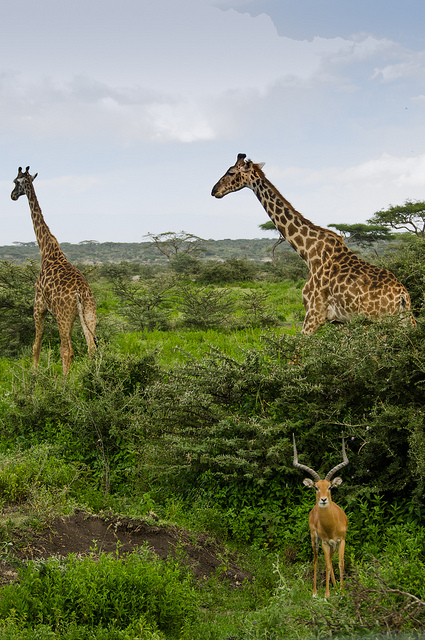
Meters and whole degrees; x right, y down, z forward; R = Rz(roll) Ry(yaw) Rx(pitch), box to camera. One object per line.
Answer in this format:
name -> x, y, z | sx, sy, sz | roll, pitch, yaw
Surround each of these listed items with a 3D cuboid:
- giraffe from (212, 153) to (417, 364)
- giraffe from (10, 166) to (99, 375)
giraffe -> 1.679, -1.381, 10.704 | 1.084, 3.058, 3.012 | -5, 2, -22
giraffe -> -2.935, -1.063, 12.527 | 1.328, 3.061, 3.200 | -5, 2, -16
